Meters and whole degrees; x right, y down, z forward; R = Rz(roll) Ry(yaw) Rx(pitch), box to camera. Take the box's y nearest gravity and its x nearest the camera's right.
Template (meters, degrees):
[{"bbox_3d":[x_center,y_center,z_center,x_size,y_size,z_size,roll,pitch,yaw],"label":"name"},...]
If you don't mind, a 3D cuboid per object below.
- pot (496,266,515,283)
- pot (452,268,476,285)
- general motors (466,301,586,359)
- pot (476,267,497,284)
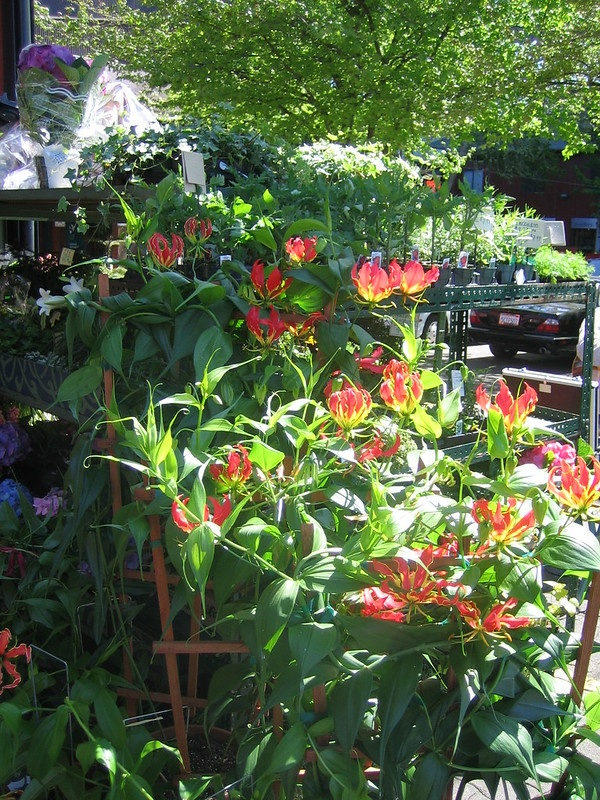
[{"bbox_3d":[0.766,-0.469,2.405,0.068,0.078,0.073,2,21,-1],"label":"pot"},{"bbox_3d":[0.527,-0.400,2.050,0.068,0.052,0.059,-1,8,-9],"label":"pot"},{"bbox_3d":[2.046,-0.641,5.696,0.988,0.321,0.535,-19,26,-41],"label":"general motors"},{"bbox_3d":[0.658,-0.441,2.254,0.082,0.063,0.067,-1,2,0],"label":"pot"}]
